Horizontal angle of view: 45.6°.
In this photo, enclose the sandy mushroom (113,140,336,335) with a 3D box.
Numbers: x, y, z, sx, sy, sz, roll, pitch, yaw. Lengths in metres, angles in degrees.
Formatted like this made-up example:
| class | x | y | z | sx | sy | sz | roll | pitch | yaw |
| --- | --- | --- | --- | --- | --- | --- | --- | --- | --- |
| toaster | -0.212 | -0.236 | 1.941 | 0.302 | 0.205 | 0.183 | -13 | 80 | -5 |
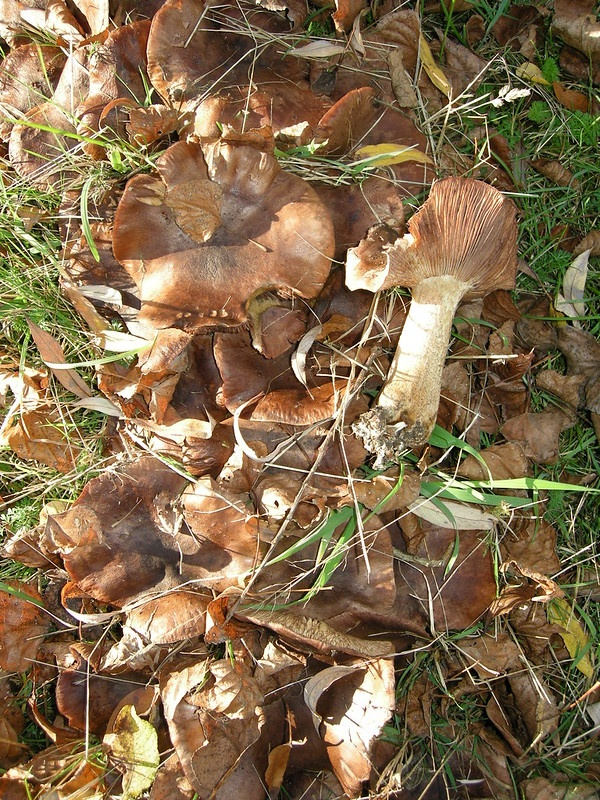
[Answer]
| class | x | y | z | sx | sy | sz | roll | pitch | yaw |
| --- | --- | --- | --- | --- | --- | --- | --- | --- | --- |
| sandy mushroom | -0.260 | -0.557 | 2.394 | 0.725 | 0.276 | 0.608 | -18 | 69 | -5 |
